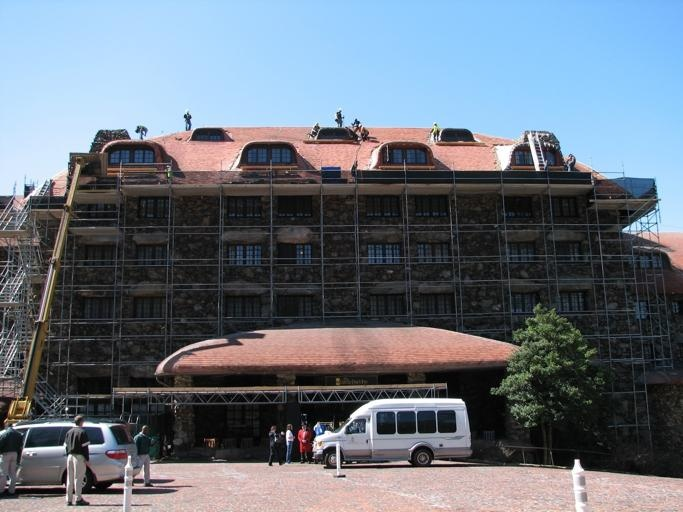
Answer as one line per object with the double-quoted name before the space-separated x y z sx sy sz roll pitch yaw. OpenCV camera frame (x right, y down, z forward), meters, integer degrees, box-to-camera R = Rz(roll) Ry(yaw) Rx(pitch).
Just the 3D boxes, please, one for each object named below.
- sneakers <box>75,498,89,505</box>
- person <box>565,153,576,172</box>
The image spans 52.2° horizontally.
"sneakers" -7.599 7.176 20.568 0.503 0.196 0.209 3 -9 -13
"person" 13.899 -5.640 42.430 0.529 1.081 0.598 -7 -18 15
